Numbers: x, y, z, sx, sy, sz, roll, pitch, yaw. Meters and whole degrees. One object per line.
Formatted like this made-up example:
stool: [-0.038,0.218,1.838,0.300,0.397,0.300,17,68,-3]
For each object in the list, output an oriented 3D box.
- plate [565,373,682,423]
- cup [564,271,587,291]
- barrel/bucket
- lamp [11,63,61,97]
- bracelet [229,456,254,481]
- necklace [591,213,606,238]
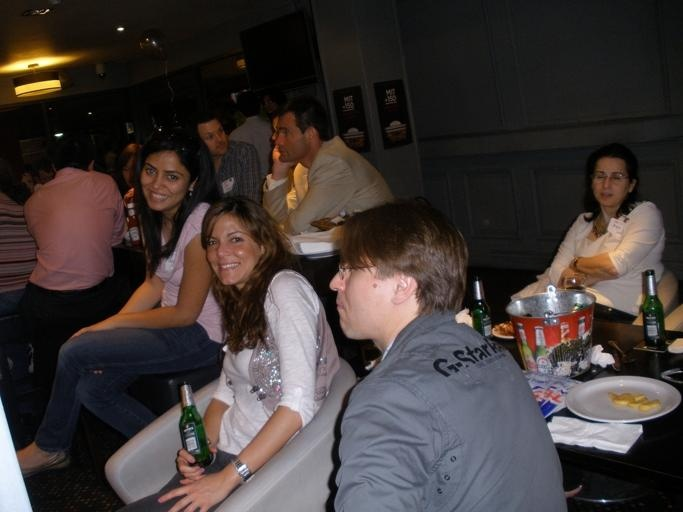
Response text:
plate: [0.794,0.410,1.354,0.303,0.041,0.213,-9,12,-10]
cup: [1.325,0.140,2.695,0.096,0.091,0.075,-12,5,6]
barrel/bucket: [0.718,0.270,1.615,0.270,0.231,0.295,-11,9,2]
lamp: [-5.175,-3.027,8.127,0.753,0.511,0.734,-21,16,-31]
bracelet: [-0.291,0.629,1.397,0.047,0.072,0.072,-33,4,-10]
necklace: [1.576,-0.189,2.905,0.070,0.127,0.089,-8,20,-37]
